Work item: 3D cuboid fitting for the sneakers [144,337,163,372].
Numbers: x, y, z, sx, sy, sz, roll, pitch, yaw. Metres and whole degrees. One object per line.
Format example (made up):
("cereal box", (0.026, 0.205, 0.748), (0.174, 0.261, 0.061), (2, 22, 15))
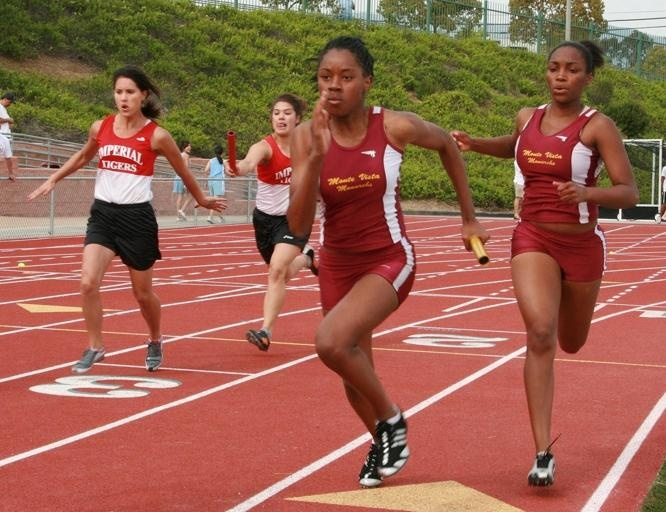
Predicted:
("sneakers", (-1.642, 0.898, 5.895), (0.114, 0.130, 0.309), (-2, 36, -2))

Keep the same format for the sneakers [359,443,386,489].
("sneakers", (0.193, 1.077, 3.271), (0.083, 0.118, 0.244), (0, 8, 5))

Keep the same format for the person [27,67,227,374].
("person", (-1.790, -0.322, 5.850), (1.403, 2.731, 0.726), (0, 4, -1))

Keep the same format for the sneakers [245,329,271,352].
("sneakers", (-0.717, 0.830, 6.313), (0.157, 0.227, 0.256), (3, 5, 30))

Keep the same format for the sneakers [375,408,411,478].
("sneakers", (0.283, 0.950, 3.287), (0.124, 0.372, 0.158), (-29, -50, 30))

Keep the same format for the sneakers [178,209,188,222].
("sneakers", (-5.311, -1.430, 22.782), (0.146, 0.402, 0.171), (-31, 13, 8))

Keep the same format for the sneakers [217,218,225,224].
("sneakers", (-4.157, -1.318, 24.117), (0.174, 0.279, 0.281), (0, -3, 3))

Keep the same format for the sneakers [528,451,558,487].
("sneakers", (1.003, 1.036, 3.121), (0.085, 0.095, 0.234), (-9, 9, 25))

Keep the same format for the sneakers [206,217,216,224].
("sneakers", (-4.502, -1.331, 23.945), (0.167, 0.208, 0.488), (1, 11, 11))

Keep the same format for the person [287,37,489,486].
("person", (0.180, 0.051, 3.297), (1.096, 2.281, 0.460), (-4, 6, -43))
